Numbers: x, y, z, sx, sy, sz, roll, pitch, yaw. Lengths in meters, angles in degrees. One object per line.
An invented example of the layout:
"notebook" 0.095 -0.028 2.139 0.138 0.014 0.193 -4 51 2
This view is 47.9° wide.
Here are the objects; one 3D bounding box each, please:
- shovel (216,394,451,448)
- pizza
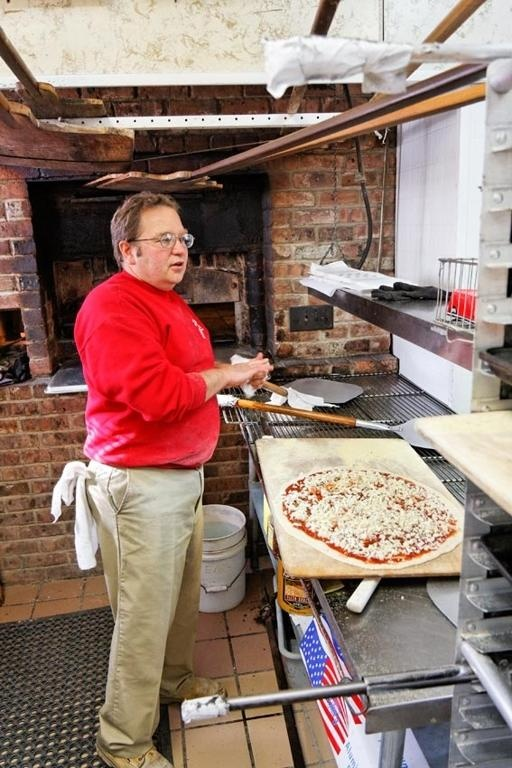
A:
"shovel" 0.234 0.092 1.829 0.690 0.045 0.227 8 27 15
"pizza" 0.257 0.295 1.322 0.403 0.027 0.477 0 12 0
